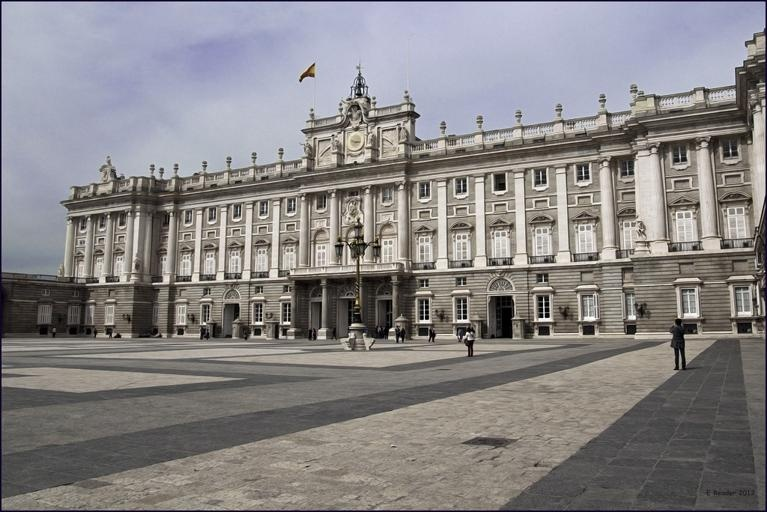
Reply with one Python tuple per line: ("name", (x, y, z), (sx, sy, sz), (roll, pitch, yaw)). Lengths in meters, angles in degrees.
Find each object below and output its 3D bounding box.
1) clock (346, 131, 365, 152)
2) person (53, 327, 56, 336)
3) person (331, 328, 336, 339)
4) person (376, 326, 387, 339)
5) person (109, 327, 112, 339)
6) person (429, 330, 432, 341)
("clock", (-2.501, -10.418, 63.313), (1.947, 2.002, 0.343), (-10, -10, 44))
("person", (-34.157, 7.922, 72.366), (0.418, 0.890, 1.345), (0, -8, -24))
("person", (-4.293, 6.777, 61.040), (0.311, 0.939, 0.860), (-3, -7, 0))
("person", (-0.063, 6.497, 58.609), (0.972, 1.121, 0.906), (5, -11, -43))
("person", (-28.481, 7.981, 72.561), (0.447, 0.966, 1.129), (1, -8, -27))
("person", (3.497, 5.850, 50.487), (0.310, 0.808, 0.822), (-4, -7, 3))
